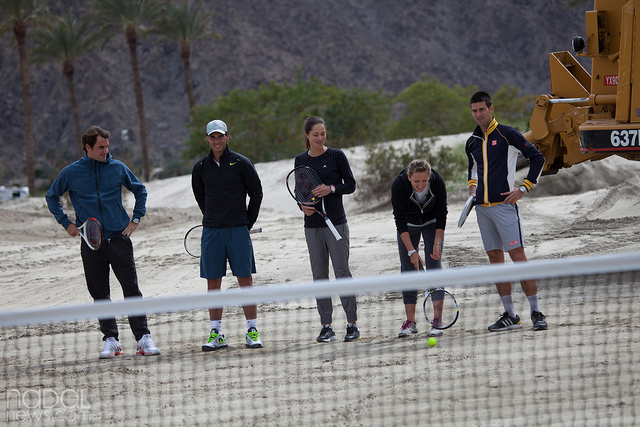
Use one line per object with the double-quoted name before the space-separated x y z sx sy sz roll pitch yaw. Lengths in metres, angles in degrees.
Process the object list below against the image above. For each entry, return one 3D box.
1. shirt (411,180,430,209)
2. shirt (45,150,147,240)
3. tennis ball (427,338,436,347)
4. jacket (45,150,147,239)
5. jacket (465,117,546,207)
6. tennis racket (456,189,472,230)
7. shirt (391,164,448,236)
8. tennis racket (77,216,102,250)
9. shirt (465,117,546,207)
"shirt" 2.412 -0.383 27.747 0.298 0.493 0.340 0 -15 4
"shirt" -5.410 -0.395 28.402 2.335 2.207 0.917 -6 6 -16
"tennis ball" 2.629 3.102 27.381 0.187 0.170 0.174 -15 45 16
"jacket" -5.451 -0.496 28.401 2.425 2.247 0.938 -7 17 -16
"jacket" 4.303 -1.232 28.246 2.151 2.175 0.910 -2 2 39
"tennis racket" 4.065 -0.064 32.937 0.227 1.197 0.305 20 -7 -15
"shirt" 2.414 -0.226 28.048 1.178 1.794 0.954 -5 4 3
"tennis racket" -5.558 0.525 28.006 0.547 0.804 0.204 -5 8 9
"shirt" 4.332 -1.270 28.217 2.075 2.276 0.978 1 10 36
